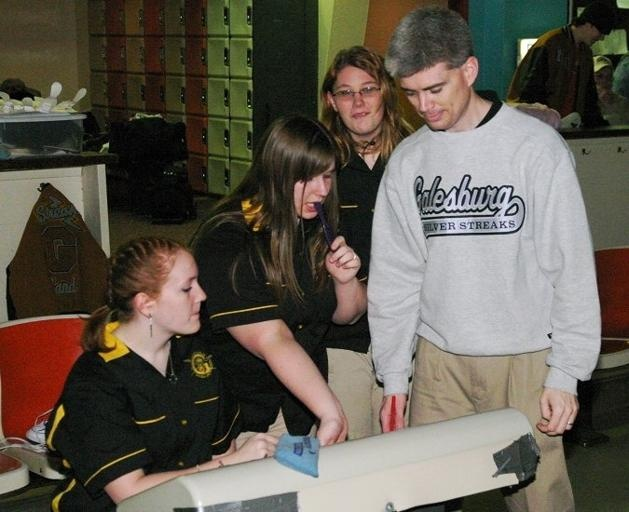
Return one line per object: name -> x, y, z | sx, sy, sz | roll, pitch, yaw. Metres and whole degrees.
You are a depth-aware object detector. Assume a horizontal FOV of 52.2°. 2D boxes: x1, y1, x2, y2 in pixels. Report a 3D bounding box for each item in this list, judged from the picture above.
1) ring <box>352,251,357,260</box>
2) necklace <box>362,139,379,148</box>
ring -> 0.118, 0.001, 1.937 | 0.007, 0.020, 0.015 | -40, 4, 20
necklace -> 0.203, -0.411, 2.350 | 0.052, 0.022, 0.023 | -5, -33, -9
